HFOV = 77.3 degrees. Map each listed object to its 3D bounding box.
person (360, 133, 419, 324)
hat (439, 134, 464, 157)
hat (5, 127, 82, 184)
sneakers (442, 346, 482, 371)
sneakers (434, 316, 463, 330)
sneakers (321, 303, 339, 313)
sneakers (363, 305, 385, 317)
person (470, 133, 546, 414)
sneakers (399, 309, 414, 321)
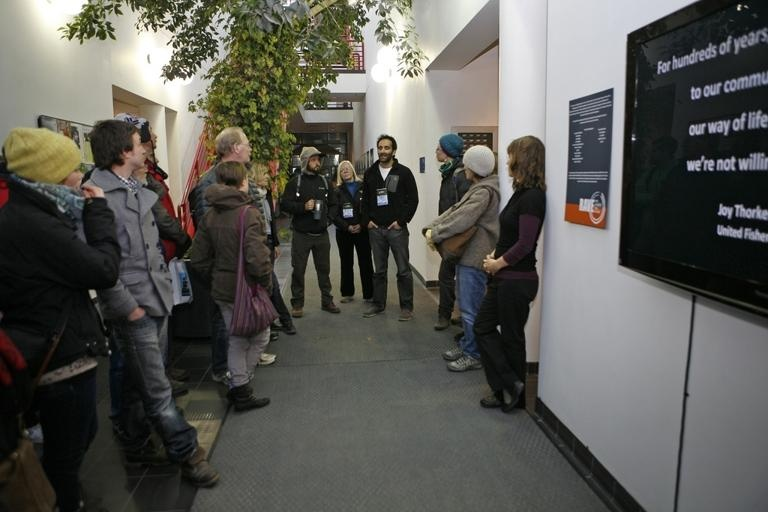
[{"bbox_3d":[0.044,-0.342,5.982,0.745,2.213,0.685,4,14,18],"label":"person"},{"bbox_3d":[0.770,-1.230,5.447,0.217,0.237,0.284,-14,15,-29],"label":"hat"},{"bbox_3d":[-1.678,-0.504,2.463,0.328,0.281,0.249,-2,26,-14],"label":"hat"},{"bbox_3d":[0.748,0.997,4.575,0.209,0.088,0.241,4,3,-7],"label":"sneakers"},{"bbox_3d":[0.742,0.779,5.686,0.401,0.171,0.134,-2,2,-24],"label":"sneakers"},{"bbox_3d":[-0.689,0.689,6.291,0.242,0.105,0.099,1,3,42],"label":"sneakers"},{"bbox_3d":[-0.113,0.711,6.123,0.306,0.124,0.111,-2,0,-31],"label":"sneakers"},{"bbox_3d":[0.964,0.176,3.717,0.488,2.113,0.345,4,14,18],"label":"person"},{"bbox_3d":[0.278,0.725,5.896,0.165,0.118,0.172,0,13,3],"label":"sneakers"}]
